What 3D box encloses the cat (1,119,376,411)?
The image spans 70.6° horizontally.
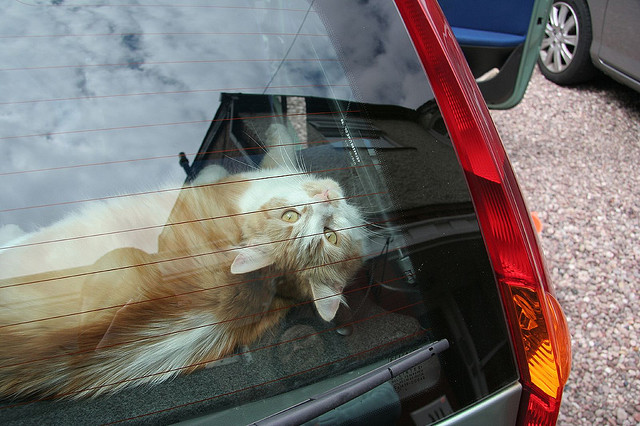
[{"bbox_3d":[-0.366,0.150,1.199,1.051,0.322,0.582,-24,61,-19],"label":"cat"}]
